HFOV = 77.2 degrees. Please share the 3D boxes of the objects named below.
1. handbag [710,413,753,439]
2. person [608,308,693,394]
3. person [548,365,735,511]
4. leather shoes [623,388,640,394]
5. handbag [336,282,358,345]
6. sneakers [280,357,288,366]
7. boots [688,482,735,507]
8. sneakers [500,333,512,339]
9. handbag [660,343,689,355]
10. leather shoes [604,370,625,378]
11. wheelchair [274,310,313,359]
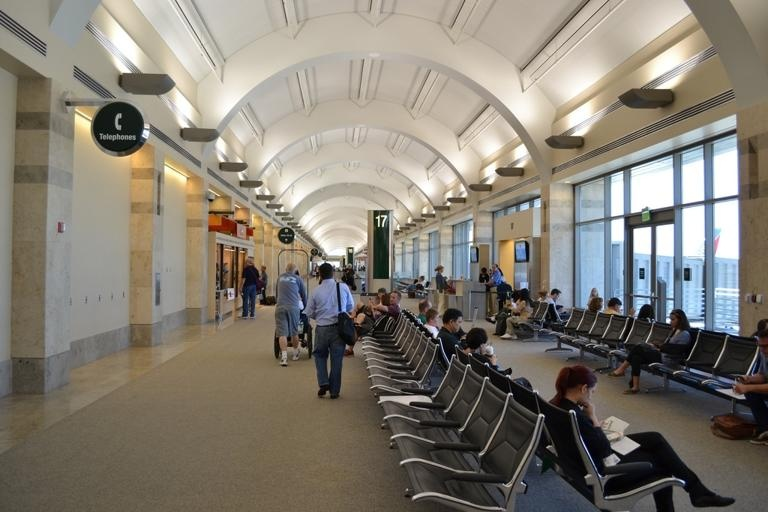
[{"bbox_3d":[4.681,2.269,6.424,0.366,0.158,0.283,0,1,6],"label":"handbag"},{"bbox_3d":[4.607,1.625,8.282,1.182,1.534,0.767,6,-6,8],"label":"person"},{"bbox_3d":[2.530,1.870,4.953,1.516,1.386,0.718,-1,8,-10],"label":"person"},{"bbox_3d":[4.126,2.238,8.019,0.262,0.112,0.100,-1,-9,-2],"label":"leather shoes"},{"bbox_3d":[-0.613,0.920,7.584,0.278,0.949,0.474,0,8,-9],"label":"handbag"},{"bbox_3d":[-1.963,2.046,9.416,0.093,0.136,0.287,1,0,-5],"label":"sneakers"},{"bbox_3d":[3.305,2.474,4.886,0.407,0.297,0.175,0,8,-6],"label":"boots"},{"bbox_3d":[3.284,2.151,12.944,0.307,0.133,0.108,1,-7,6],"label":"sneakers"},{"bbox_3d":[4.882,1.553,8.035,0.294,0.137,0.237,0,-9,16],"label":"handbag"},{"bbox_3d":[4.289,2.191,8.913,0.357,0.106,0.137,3,-6,-8],"label":"leather shoes"},{"bbox_3d":[-1.784,1.757,10.588,0.851,1.290,1.329,0,-14,-3],"label":"wheelchair"}]
